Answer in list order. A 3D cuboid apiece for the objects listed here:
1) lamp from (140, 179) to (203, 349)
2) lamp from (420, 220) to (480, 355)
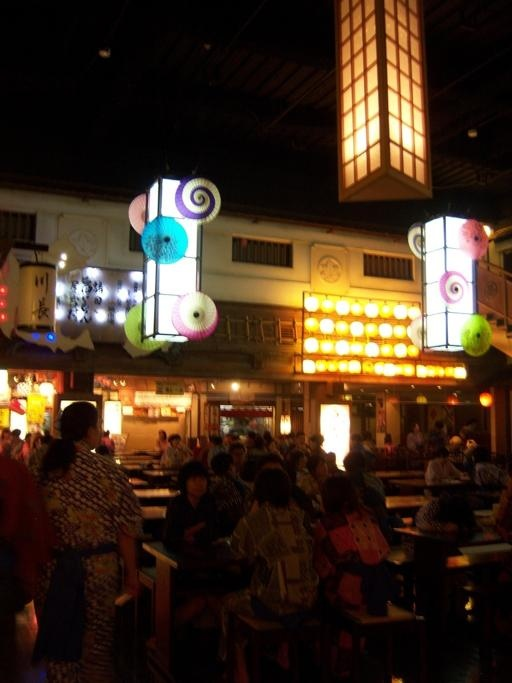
[{"bbox_3d":[-1.423,-1.331,11.763,0.957,2.570,1.436,2,-6,-10],"label":"lamp"},{"bbox_3d":[3.506,-1.039,12.506,0.954,2.367,1.037,0,-6,14],"label":"lamp"}]
